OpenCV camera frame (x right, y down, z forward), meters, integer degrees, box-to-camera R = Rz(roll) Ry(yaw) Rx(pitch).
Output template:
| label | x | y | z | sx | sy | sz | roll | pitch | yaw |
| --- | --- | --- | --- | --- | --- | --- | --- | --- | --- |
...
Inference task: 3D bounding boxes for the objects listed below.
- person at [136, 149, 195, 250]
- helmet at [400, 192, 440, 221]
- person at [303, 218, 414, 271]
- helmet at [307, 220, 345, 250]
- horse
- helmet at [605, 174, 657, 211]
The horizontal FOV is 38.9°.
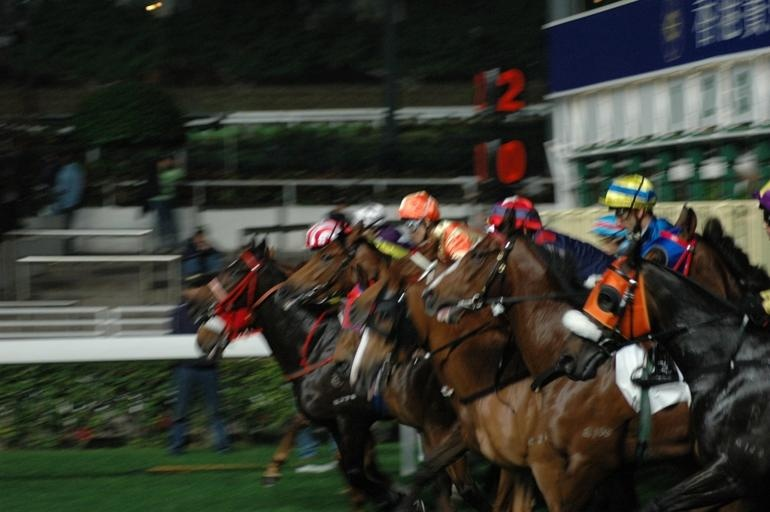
| label | x | y | z | sx | sy | sz | roll | pitch | yaw |
| --- | --- | --- | --- | --- | --- | --- | --- | --- | --- |
| person | -3.026 | -0.752 | 14.893 | 0.525 | 0.336 | 1.682 | -4 | 43 | 0 |
| helmet | 0.337 | -0.463 | 9.823 | 0.319 | 0.270 | 0.280 | 16 | 12 | 11 |
| person | -0.223 | -0.227 | 9.861 | 0.944 | 0.407 | 0.513 | 0 | -7 | -5 |
| helmet | -0.543 | -0.180 | 9.690 | 0.320 | 0.116 | 0.226 | -21 | 26 | 41 |
| horse | 0.591 | 0.819 | 9.410 | 5.309 | 2.330 | 1.758 | -1 | 3 | 23 |
| helmet | 1.934 | -0.530 | 8.597 | 0.379 | 0.193 | 0.259 | 1 | 13 | 7 |
